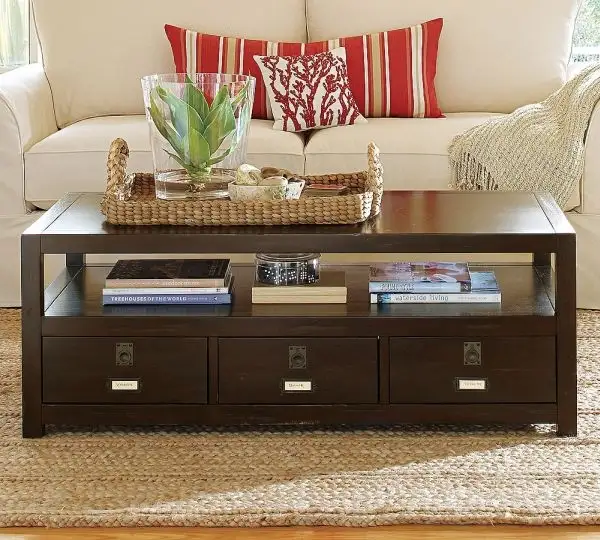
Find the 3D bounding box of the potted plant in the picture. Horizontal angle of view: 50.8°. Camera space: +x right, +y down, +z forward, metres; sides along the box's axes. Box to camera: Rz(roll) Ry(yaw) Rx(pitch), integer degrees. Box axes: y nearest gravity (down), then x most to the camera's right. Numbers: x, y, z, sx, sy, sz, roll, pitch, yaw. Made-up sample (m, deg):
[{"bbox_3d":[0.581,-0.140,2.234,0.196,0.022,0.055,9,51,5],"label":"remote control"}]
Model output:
[{"bbox_3d":[-0.166,-0.322,1.569,0.328,0.292,0.293,2,9,8],"label":"potted plant"}]
